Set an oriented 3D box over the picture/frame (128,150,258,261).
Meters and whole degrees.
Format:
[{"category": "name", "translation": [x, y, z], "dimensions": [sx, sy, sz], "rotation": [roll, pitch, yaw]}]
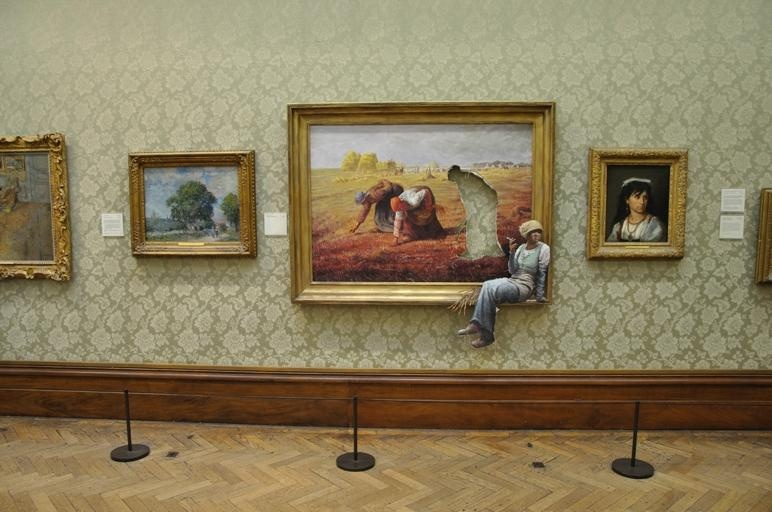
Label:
[{"category": "picture/frame", "translation": [-2.680, -0.766, 9.014], "dimensions": [1.842, 1.288, 0.129], "rotation": [0, 4, 2]}]
